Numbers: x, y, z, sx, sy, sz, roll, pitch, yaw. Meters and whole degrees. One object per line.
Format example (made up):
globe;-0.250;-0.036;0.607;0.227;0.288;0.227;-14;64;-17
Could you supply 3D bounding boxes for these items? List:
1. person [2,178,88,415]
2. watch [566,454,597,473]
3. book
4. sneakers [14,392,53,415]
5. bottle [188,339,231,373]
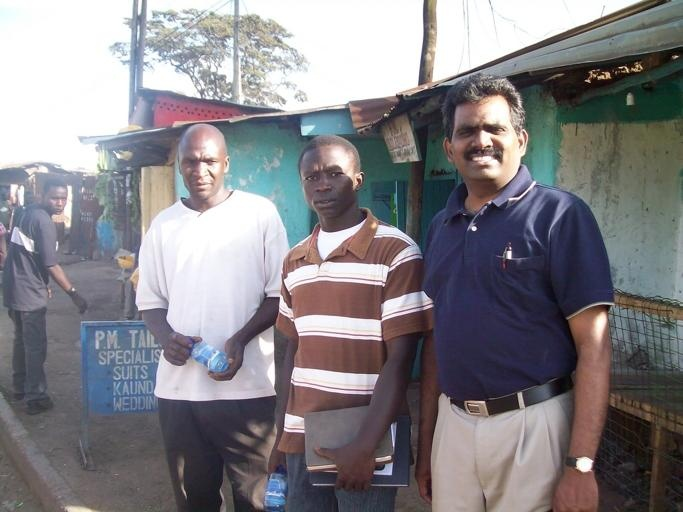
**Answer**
person;-3.585;0.414;7.166;0.862;2.597;1.238;-3;9;-19
watch;1.133;0.969;2.837;0.097;0.072;0.096;1;-8;20
book;0.089;1.065;3.218;0.581;0.524;0.316;0;9;0
sneakers;-3.508;1.684;6.873;0.398;0.283;0.134;-9;13;-29
bottle;-0.835;0.643;3.842;0.245;0.184;0.103;2;9;16
